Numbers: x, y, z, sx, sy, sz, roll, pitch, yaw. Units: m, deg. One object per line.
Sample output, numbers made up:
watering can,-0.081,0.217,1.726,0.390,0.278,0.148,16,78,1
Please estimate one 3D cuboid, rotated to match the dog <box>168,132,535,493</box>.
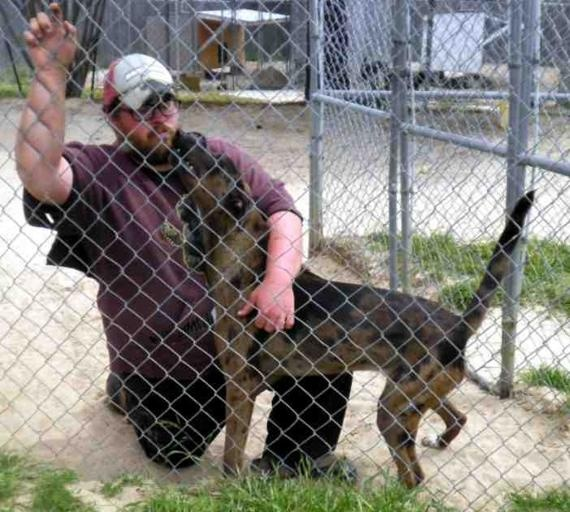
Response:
dog,0.268,0.285,4.993,1.719,1.737,0.823,-1,19,-7
